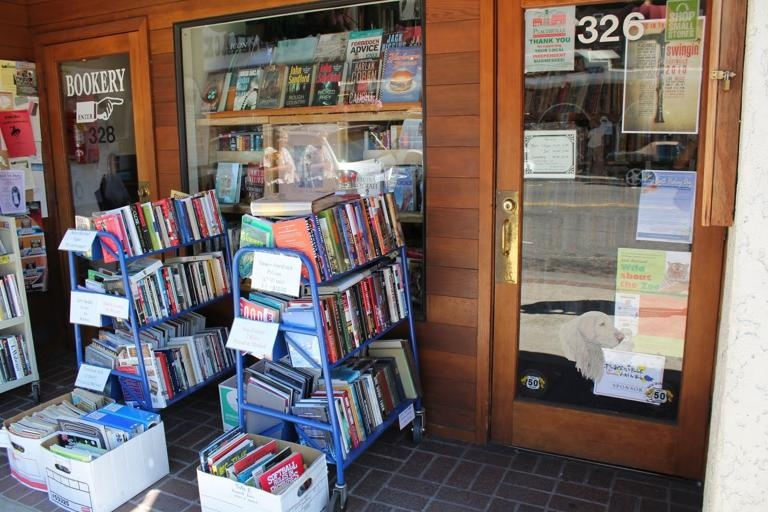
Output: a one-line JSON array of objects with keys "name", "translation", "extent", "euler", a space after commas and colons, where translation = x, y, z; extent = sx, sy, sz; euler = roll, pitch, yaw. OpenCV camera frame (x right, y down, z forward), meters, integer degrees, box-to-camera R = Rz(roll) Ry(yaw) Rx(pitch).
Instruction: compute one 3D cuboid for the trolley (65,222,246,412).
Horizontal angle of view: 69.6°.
[{"name": "trolley", "translation": [-1.510, 0.484, 4.133], "extent": [1.096, 1.438, 1.145], "euler": [5, -2, -16]}]
